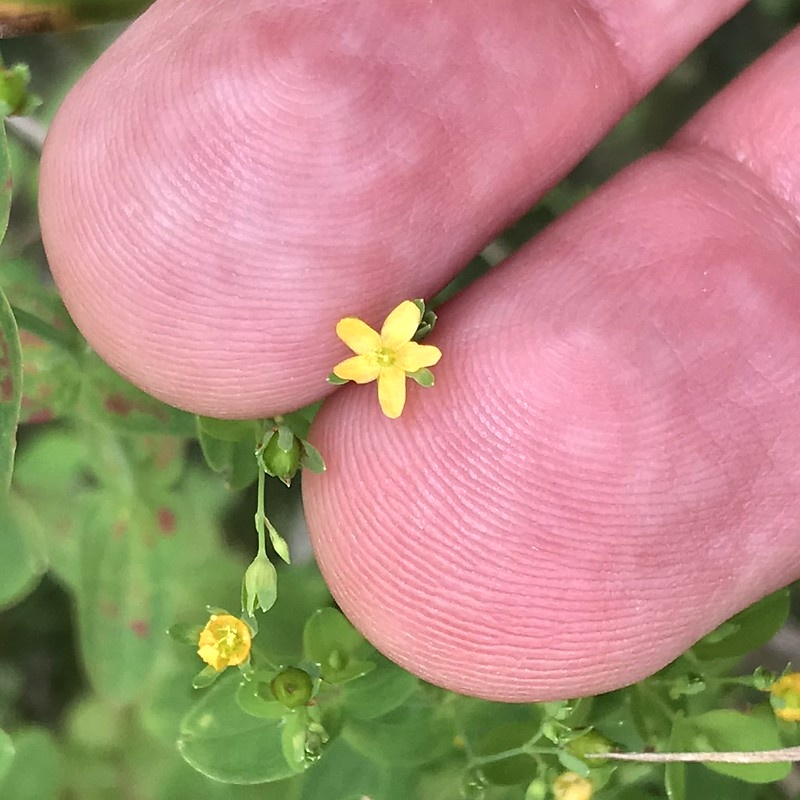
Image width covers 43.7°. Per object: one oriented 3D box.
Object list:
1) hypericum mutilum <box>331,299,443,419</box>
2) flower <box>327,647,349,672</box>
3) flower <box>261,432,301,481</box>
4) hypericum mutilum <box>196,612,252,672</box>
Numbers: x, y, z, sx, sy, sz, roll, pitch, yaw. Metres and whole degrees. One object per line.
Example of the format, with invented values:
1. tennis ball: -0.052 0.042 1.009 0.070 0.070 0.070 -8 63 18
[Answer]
1. hypericum mutilum: -0.011 -0.045 0.934 0.106 0.120 0.025 -40 51 1
2. flower: -0.075 0.323 1.231 0.026 0.007 0.023 -2 84 7
3. flower: -0.121 0.062 1.035 0.041 0.066 0.051 0 47 -10
4. hypericum mutilum: -0.205 0.280 1.182 0.054 0.047 0.017 -15 40 -6
